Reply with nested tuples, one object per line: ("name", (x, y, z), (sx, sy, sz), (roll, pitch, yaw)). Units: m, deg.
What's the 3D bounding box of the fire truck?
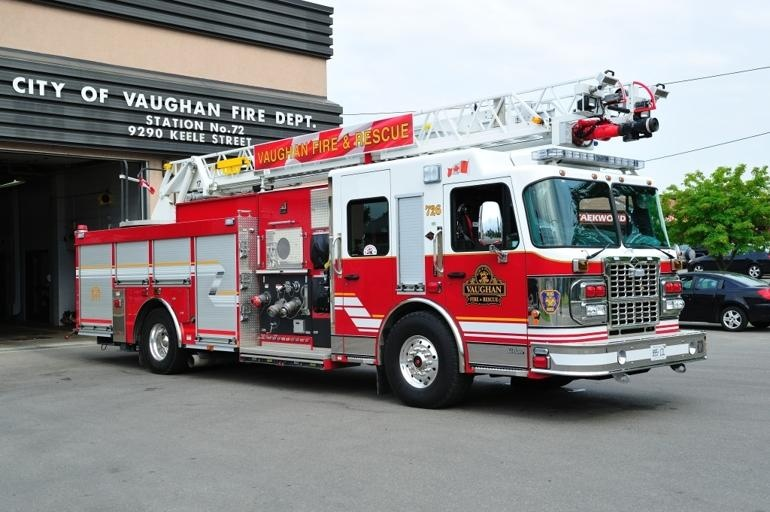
("fire truck", (-1.343, 0.101, 13.850), (13.278, 5.187, 4.768), (-5, -4, 40))
